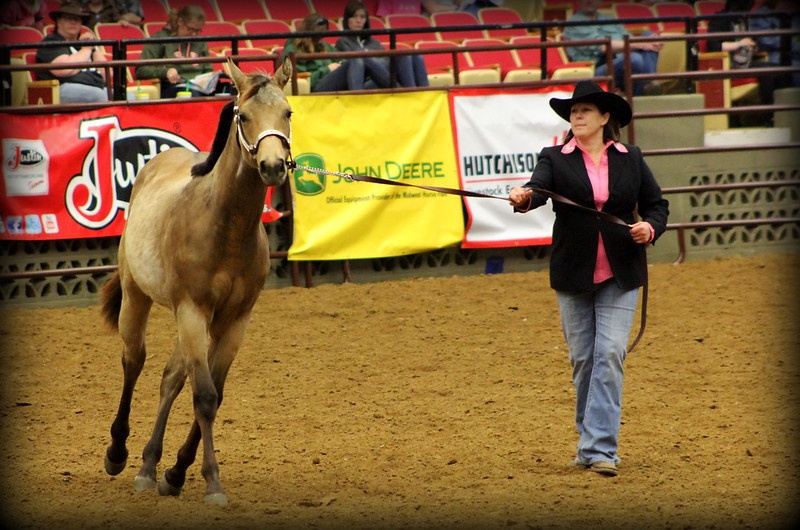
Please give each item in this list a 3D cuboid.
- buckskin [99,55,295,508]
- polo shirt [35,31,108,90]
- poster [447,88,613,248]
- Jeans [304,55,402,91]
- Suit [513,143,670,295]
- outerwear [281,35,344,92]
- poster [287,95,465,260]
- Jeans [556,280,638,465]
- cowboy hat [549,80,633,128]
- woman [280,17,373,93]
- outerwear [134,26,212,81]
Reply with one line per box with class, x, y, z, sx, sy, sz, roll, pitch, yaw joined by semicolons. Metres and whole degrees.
buckskin;-2.206;0.112;13.453;2.513;4.538;1.331;7;13;32
polo shirt;-4.720;-2.842;17.864;1.047;0.714;0.710;3;36;-18
poster;1.578;-1.264;15.826;2.160;2.298;0.247;-2;3;-7
Jeans;-0.643;-2.674;17.990;0.878;0.272;0.582;-23;-2;-3
Suit;2.076;-0.570;13.489;1.755;1.655;0.990;-1;1;-6
outerwear;-1.286;-2.793;18.228;0.527;0.344;0.341;-7;24;39
poster;-0.431;-1.234;17.420;2.174;1.904;0.248;-3;4;-11
Jeans;2.134;1.154;13.395;0.764;1.924;0.528;1;11;9
cowboy hat;2.184;-1.694;13.451;0.664;0.256;0.558;28;-40;-23
woman;-1.091;-3.053;18.157;0.993;1.597;1.258;-1;4;-13
outerwear;-3.218;-3.024;18.270;1.228;0.981;0.661;-6;6;-37
